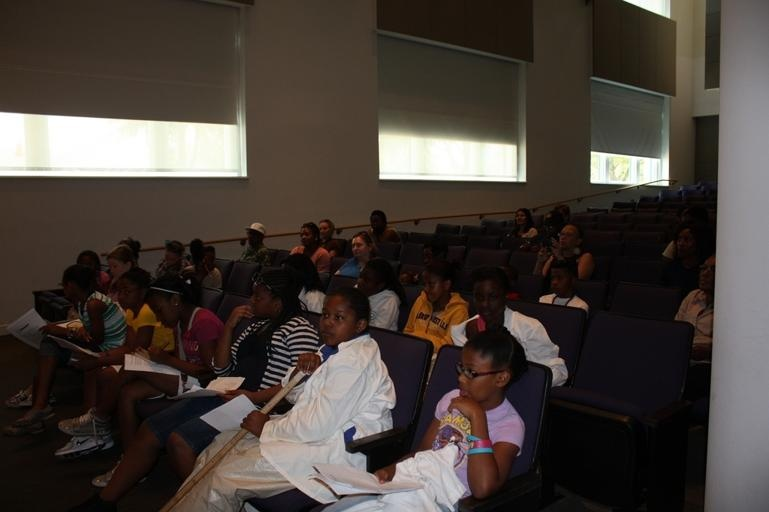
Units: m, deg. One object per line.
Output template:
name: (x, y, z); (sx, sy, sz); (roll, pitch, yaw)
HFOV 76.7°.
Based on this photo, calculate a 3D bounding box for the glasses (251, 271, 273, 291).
glasses: (-0.716, 0.142, 2.838); (0.107, 0.034, 0.102); (30, -15, -31)
